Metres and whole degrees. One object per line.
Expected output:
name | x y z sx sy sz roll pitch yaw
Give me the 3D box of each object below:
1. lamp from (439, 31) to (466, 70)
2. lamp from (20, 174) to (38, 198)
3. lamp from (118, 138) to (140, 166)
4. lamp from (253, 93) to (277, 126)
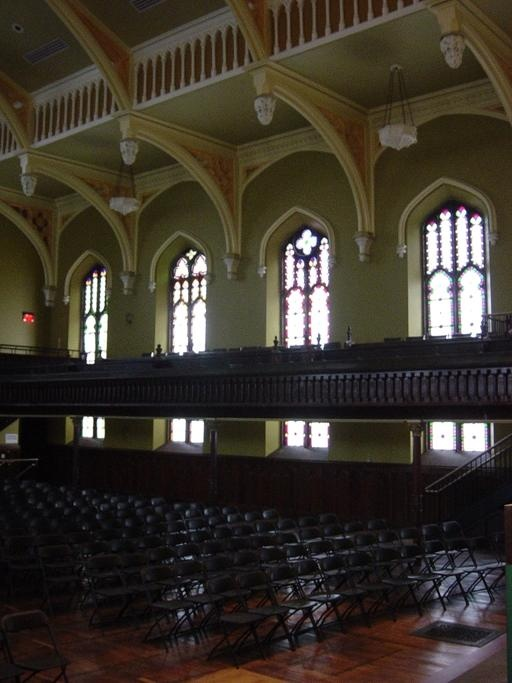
lamp | 3.443 -5.010 11.737 0.375 0.506 0.302 -1 -6 -22
lamp | -6.741 -4.643 20.164 0.379 0.508 0.655 -1 -6 -22
lamp | -3.186 -4.784 17.222 0.406 0.616 0.397 -3 -6 -4
lamp | 0.218 -4.932 14.485 0.395 0.651 0.313 -3 -6 2
